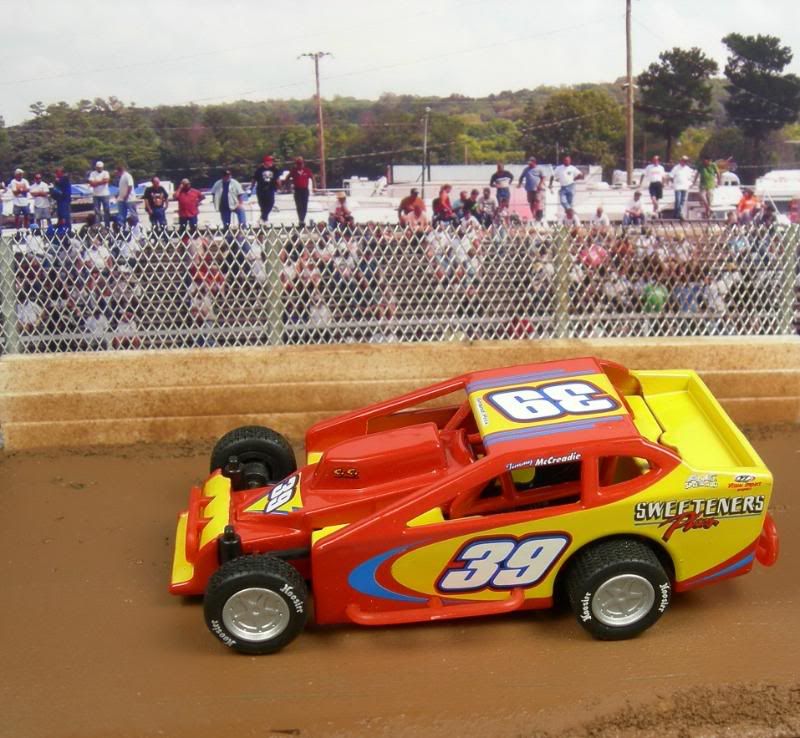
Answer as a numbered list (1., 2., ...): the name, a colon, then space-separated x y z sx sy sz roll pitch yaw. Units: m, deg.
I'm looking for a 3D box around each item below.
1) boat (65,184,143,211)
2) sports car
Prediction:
1. boat: -3.621 -2.077 14.695 0.657 0.222 0.405 0 16 -5
2. sports car: 0.313 0.683 6.528 2.847 1.049 1.680 -2 25 -4
